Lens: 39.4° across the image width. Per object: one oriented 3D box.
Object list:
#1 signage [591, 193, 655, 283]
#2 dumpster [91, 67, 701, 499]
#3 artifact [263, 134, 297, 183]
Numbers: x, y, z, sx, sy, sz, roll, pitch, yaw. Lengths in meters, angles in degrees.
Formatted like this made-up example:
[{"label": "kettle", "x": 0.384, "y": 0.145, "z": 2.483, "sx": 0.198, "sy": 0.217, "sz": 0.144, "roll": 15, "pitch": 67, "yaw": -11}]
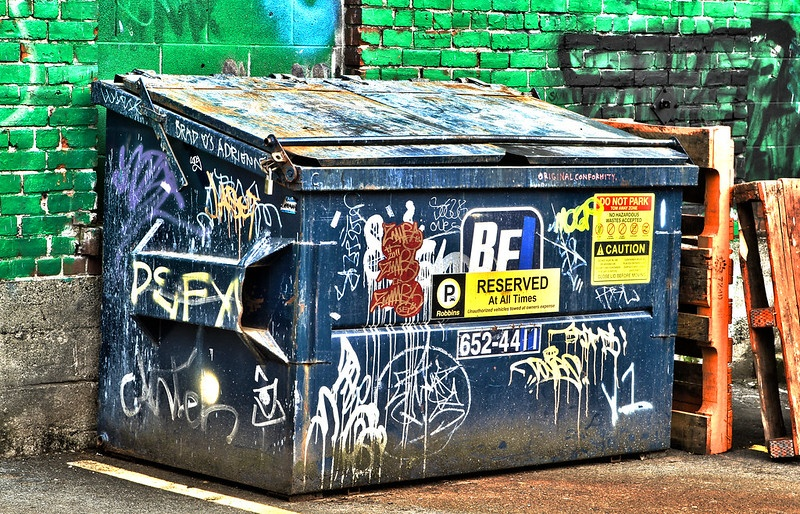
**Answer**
[{"label": "signage", "x": 1.446, "y": -0.151, "z": 7.356, "sx": 0.541, "sy": 0.758, "sz": 0.033, "roll": -1, "pitch": 7, "yaw": -20}, {"label": "dumpster", "x": 0.123, "y": 0.131, "z": 7.904, "sx": 3.456, "sy": 2.366, "sz": 2.161, "roll": -2, "pitch": 2, "yaw": -37}, {"label": "artifact", "x": -0.697, "y": -0.586, "z": 6.550, "sx": 0.259, "sy": 0.294, "sz": 0.067, "roll": 2, "pitch": 3, "yaw": 38}]
